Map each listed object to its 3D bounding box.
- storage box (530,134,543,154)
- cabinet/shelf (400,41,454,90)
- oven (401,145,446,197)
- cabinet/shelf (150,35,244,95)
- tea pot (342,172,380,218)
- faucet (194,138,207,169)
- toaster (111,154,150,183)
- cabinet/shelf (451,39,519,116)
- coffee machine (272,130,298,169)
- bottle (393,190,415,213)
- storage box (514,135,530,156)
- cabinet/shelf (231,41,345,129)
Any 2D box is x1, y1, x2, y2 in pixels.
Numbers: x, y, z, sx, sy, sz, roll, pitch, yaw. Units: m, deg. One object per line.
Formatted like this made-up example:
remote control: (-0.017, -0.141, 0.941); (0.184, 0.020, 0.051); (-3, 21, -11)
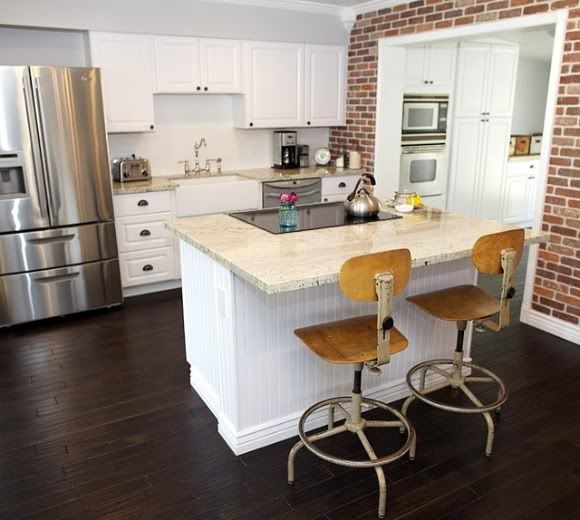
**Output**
storage box: (3.418, -1.604, 6.914); (0.119, 0.242, 0.251); (12, 23, 37)
cabinet/shelf: (1.516, -2.112, 5.396); (0.708, 0.532, 0.237); (12, 53, 25)
oven: (1.673, -1.001, 5.685); (0.498, 0.553, 0.668); (-5, 10, -31)
cabinet/shelf: (-0.944, -1.870, 4.777); (0.347, 0.499, 1.012); (26, 33, 38)
tea pot: (0.445, -0.395, 3.051); (0.215, 0.261, 0.188); (-4, 19, -3)
faucet: (-0.944, -1.097, 5.181); (0.121, 0.332, 0.241); (-1, 19, 8)
toaster: (-1.429, -0.838, 4.609); (0.398, 0.240, 0.294); (-14, 27, -35)
cabinet/shelf: (2.178, -2.095, 5.897); (1.147, 0.817, 0.418); (-15, 23, -34)
coffee machine: (-0.046, -1.232, 5.550); (0.271, 0.411, 0.210); (-6, 20, -7)
bottle: (0.741, -0.386, 3.254); (0.156, 0.155, 0.172); (-2, 18, -3)
storage box: (3.145, -1.567, 6.788); (0.303, 0.242, 0.157); (-12, 19, -36)
cabinet/shelf: (-0.037, -1.885, 5.414); (1.390, 0.841, 0.464); (-15, 28, -35)
